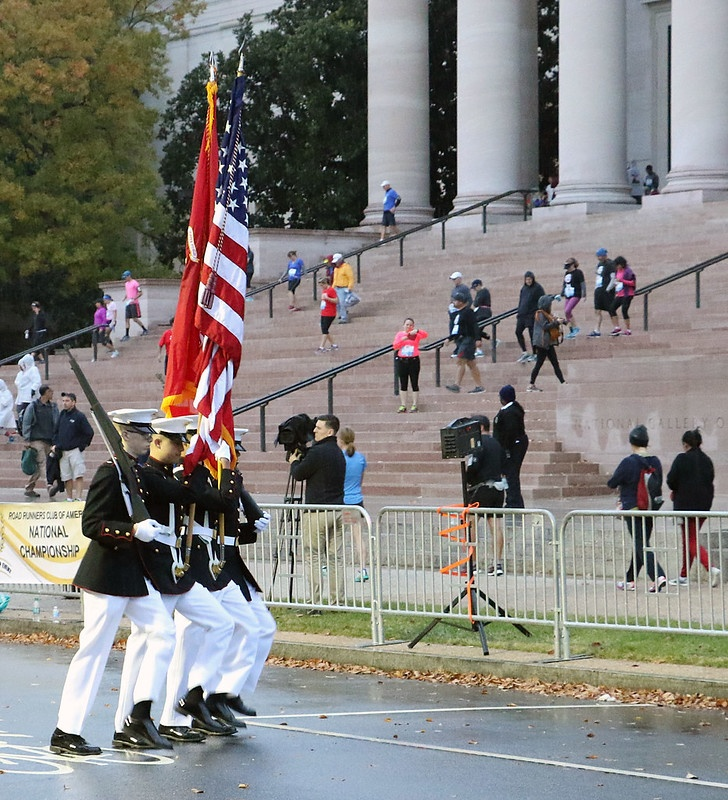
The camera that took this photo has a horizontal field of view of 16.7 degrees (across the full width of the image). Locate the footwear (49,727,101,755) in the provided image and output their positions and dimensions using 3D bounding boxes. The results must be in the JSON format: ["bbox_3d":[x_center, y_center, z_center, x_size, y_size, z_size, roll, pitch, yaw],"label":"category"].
[{"bbox_3d":[-2.567,2.852,21.816,0.485,0.252,0.184,-1,-2,17],"label":"footwear"}]

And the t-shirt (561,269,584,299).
[{"bbox_3d":[3.112,-1.800,37.486,0.317,0.438,0.420,-8,12,2],"label":"t-shirt"}]

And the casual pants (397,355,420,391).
[{"bbox_3d":[0.602,-0.463,35.206,0.316,0.569,0.558,-8,12,-1],"label":"casual pants"}]

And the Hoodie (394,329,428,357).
[{"bbox_3d":[0.638,-0.886,35.439,0.388,0.393,0.237,5,-29,4],"label":"Hoodie"}]

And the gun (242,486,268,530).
[{"bbox_3d":[-1.076,0.943,23.075,0.137,0.396,0.208,-29,-1,26],"label":"gun"}]

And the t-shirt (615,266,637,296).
[{"bbox_3d":[3.753,-1.777,36.152,0.339,0.426,0.244,-7,-31,21],"label":"t-shirt"}]

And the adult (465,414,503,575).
[{"bbox_3d":[1.305,0.934,27.515,0.556,1.631,0.556,2,-2,-33],"label":"adult"}]

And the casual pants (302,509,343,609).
[{"bbox_3d":[-0.439,1.505,25.816,0.479,0.928,0.275,-3,13,24],"label":"casual pants"}]

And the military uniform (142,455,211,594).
[{"bbox_3d":[-1.672,1.049,22.360,0.580,1.147,0.625,0,1,10],"label":"military uniform"}]

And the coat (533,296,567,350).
[{"bbox_3d":[2.523,-1.133,34.301,0.436,0.693,0.313,-1,13,0],"label":"coat"}]

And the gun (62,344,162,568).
[{"bbox_3d":[-2.857,0.529,28.092,0.095,2.808,0.551,-16,5,34],"label":"gun"}]

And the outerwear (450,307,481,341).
[{"bbox_3d":[1.405,-1.155,35.456,0.462,0.493,0.246,-5,-9,42],"label":"outerwear"}]
